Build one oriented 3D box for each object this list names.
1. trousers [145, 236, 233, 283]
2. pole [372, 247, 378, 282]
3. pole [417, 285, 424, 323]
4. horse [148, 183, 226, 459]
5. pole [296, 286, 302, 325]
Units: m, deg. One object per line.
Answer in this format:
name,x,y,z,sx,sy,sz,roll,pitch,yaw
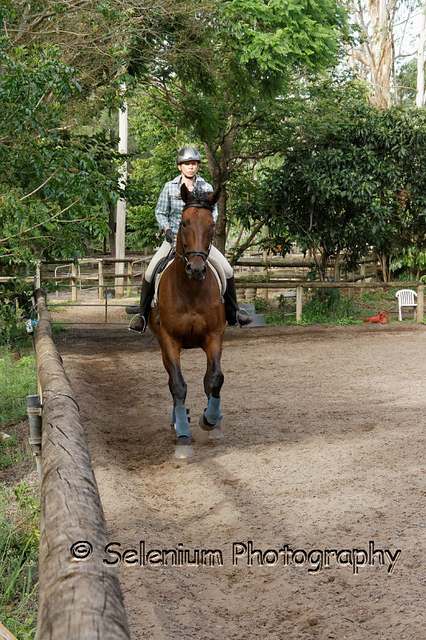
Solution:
trousers,-0.235,-0.635,6.140,0.666,0.545,0.736,-3,11,-38
pole,6.298,-2.059,22.546,0.213,1.061,0.785,-1,6,16
pole,5.230,-0.422,14.651,0.138,0.916,0.685,0,6,20
horse,-0.208,0.145,5.914,0.843,2.313,3.119,-3,-4,-3
pole,2.169,-0.373,14.604,0.132,0.960,0.380,-2,6,7
